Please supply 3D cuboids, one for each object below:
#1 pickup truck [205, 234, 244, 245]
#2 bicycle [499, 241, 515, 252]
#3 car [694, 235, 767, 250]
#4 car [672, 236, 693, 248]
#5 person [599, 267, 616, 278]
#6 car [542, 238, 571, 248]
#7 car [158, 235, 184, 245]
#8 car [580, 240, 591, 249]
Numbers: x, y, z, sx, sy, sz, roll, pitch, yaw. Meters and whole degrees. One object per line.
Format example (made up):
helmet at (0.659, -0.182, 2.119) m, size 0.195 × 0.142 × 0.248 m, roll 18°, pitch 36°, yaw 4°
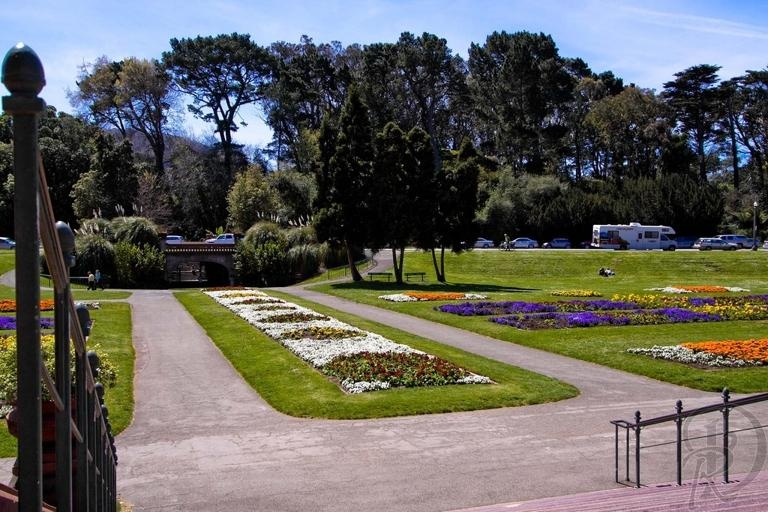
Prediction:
pickup truck at (-15.301, -1.608, 64.640) m, size 3.495 × 1.084 × 1.877 m, roll 2°, pitch -3°, yaw 2°
bicycle at (13.166, -1.126, 74.854) m, size 2.130 × 1.297 × 1.384 m, roll 3°, pitch -5°, yaw -35°
car at (36.715, -1.518, 74.087) m, size 7.193 × 1.494 × 3.247 m, roll -2°, pitch 2°, yaw -23°
car at (34.950, -1.644, 81.558) m, size 1.717 × 1.128 × 0.907 m, roll -1°, pitch -3°, yaw -2°
person at (18.702, 1.471, 58.627) m, size 1.002 × 0.579 × 1.266 m, roll -2°, pitch -4°, yaw 31°
car at (20.273, -1.562, 82.309) m, size 4.192 × 1.156 × 1.650 m, roll -2°, pitch 2°, yaw -36°
car at (-19.616, -1.454, 61.983) m, size 2.579 × 1.149 × 1.566 m, roll 2°, pitch -2°, yaw -5°
car at (23.746, -1.455, 82.688) m, size 0.769 × 0.649 × 2.481 m, roll -1°, pitch 2°, yaw -5°
